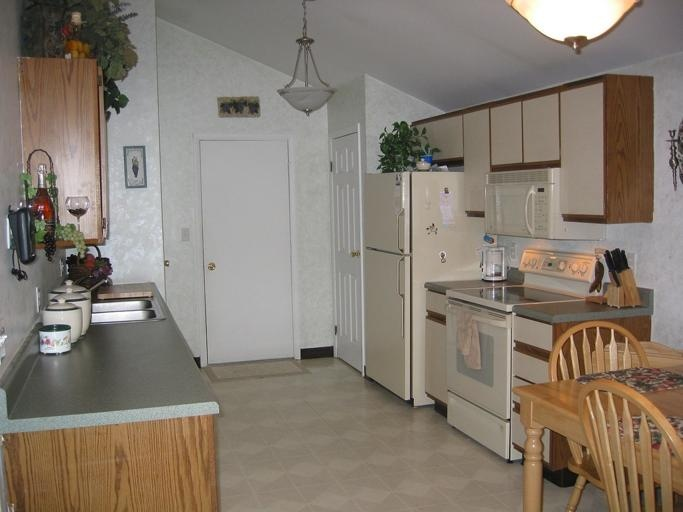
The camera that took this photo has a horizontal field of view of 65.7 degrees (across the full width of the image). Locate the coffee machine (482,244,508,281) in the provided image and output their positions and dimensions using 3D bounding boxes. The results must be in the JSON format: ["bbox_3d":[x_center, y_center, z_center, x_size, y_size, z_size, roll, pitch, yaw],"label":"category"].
[{"bbox_3d":[1.254,0.056,4.432,0.246,0.343,0.256,1,0,8],"label":"coffee machine"}]

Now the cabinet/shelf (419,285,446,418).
[{"bbox_3d":[0.795,0.717,4.409,0.095,0.986,0.380,-3,8,-13],"label":"cabinet/shelf"}]

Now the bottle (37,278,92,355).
[{"bbox_3d":[-1.557,0.326,2.968,0.328,0.334,0.252,3,4,21],"label":"bottle"}]

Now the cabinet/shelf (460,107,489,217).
[{"bbox_3d":[1.095,-0.751,4.317,0.154,0.866,0.354,-1,8,3],"label":"cabinet/shelf"}]

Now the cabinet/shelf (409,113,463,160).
[{"bbox_3d":[0.894,-1.060,4.729,0.090,0.378,0.637,-4,8,-16],"label":"cabinet/shelf"}]

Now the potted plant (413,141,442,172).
[{"bbox_3d":[0.765,-0.937,4.807,0.260,0.304,0.292,1,0,23],"label":"potted plant"}]

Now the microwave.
[{"bbox_3d":[1.485,-0.350,3.840,0.478,0.510,0.768,-1,2,-18],"label":"microwave"}]

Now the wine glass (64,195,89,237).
[{"bbox_3d":[-1.454,-0.241,2.933,0.123,0.195,0.244,-5,9,-27],"label":"wine glass"}]

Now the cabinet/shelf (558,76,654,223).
[{"bbox_3d":[1.685,-0.675,3.365,0.573,0.894,0.297,3,9,27],"label":"cabinet/shelf"}]
